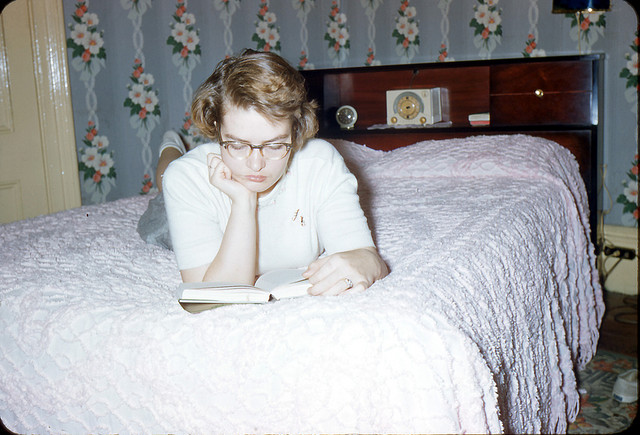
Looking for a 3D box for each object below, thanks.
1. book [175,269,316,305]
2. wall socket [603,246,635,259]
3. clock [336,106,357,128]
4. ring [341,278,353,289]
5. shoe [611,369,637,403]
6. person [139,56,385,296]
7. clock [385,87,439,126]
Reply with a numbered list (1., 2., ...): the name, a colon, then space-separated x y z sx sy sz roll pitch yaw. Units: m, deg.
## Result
1. book: -0.193 0.184 1.398 0.352 0.073 0.259 -2 9 -2
2. wall socket: 1.738 0.199 2.894 0.154 0.073 0.045 2 10 25
3. clock: 0.189 -0.697 3.405 0.132 0.146 0.042 -2 10 2
4. ring: 0.076 0.174 1.332 0.018 0.026 0.024 -20 20 -17
5. shoe: 1.281 0.714 2.071 0.073 0.112 0.129 2 -6 37
6. person: -0.256 -0.179 1.839 0.638 0.684 1.427 -15 18 -21
7. clock: 0.609 -0.730 3.204 0.306 0.222 0.175 6 21 32
